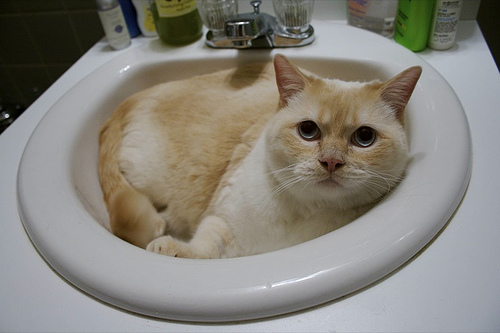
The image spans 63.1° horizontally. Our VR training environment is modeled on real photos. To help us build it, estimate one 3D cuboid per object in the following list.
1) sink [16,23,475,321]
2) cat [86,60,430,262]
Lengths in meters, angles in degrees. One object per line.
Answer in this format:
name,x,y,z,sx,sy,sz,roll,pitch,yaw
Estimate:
sink,-0.036,0.026,1.006,0.725,0.430,0.798,-8,32,4
cat,-0.039,-0.011,1.002,0.560,0.272,0.642,-13,25,-14
